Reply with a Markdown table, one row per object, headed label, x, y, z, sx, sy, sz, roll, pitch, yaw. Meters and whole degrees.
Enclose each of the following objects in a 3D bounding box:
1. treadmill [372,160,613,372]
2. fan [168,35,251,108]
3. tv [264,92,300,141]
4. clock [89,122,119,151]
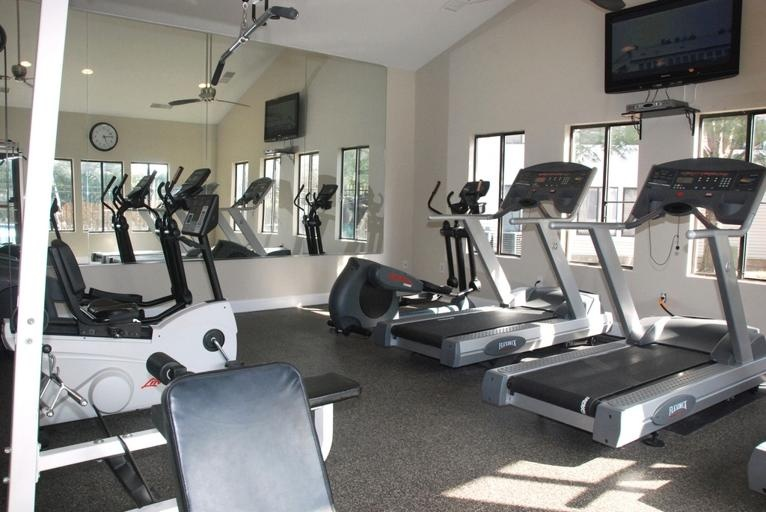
| label | x | y | z | sx | sy | sz | roll | pitch | yaw |
| --- | --- | --- | --- | --- | --- | --- | --- | --- | --- |
| treadmill | 1.147 | -0.010 | 5.565 | 2.162 | 1.781 | 1.375 | -4 | 7 | -33 |
| fan | -2.171 | -2.270 | 6.699 | 0.760 | 0.615 | 0.761 | 3 | 52 | -3 |
| tv | -1.373 | -1.874 | 7.300 | 0.659 | 0.708 | 0.091 | -4 | 12 | -33 |
| clock | -3.171 | -1.364 | 6.190 | 0.079 | 0.340 | 0.343 | -2 | 2 | 44 |
